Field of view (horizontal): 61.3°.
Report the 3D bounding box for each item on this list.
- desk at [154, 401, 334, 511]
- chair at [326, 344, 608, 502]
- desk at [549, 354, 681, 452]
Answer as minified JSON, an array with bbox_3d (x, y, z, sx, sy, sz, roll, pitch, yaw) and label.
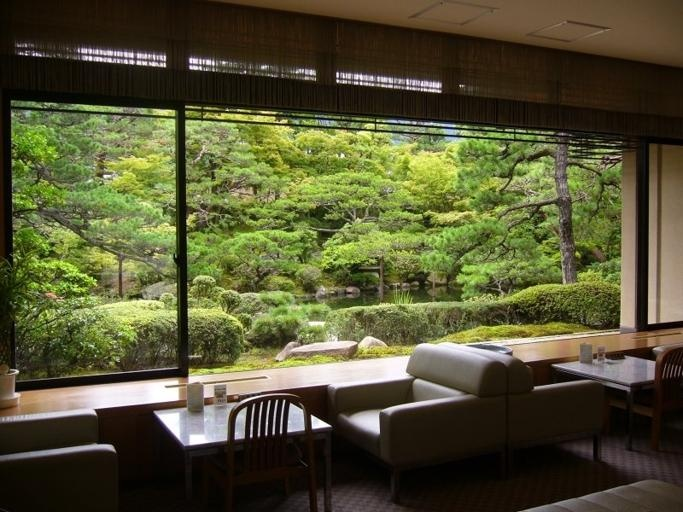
[{"bbox_3d":[-0.649,1.224,3.919,0.957,0.508,0.807,-2,4,-20],"label":"desk"},{"bbox_3d":[0.896,1.184,4.543,1.343,0.707,1.309,2,-4,-23],"label":"chair"},{"bbox_3d":[2.493,1.228,5.044,0.776,0.451,0.727,2,-2,-26],"label":"desk"}]
